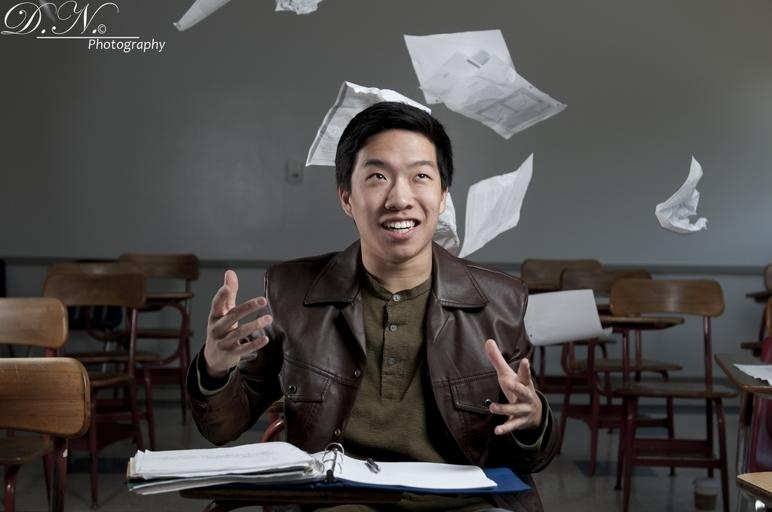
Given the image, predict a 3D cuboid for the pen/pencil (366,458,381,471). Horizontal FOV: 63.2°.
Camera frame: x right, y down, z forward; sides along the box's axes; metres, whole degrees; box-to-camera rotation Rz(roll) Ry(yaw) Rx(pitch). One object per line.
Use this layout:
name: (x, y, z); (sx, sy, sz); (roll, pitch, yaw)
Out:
pen/pencil: (-0.042, 0.690, 2.079); (0.046, 0.018, 0.025); (39, 43, 22)
